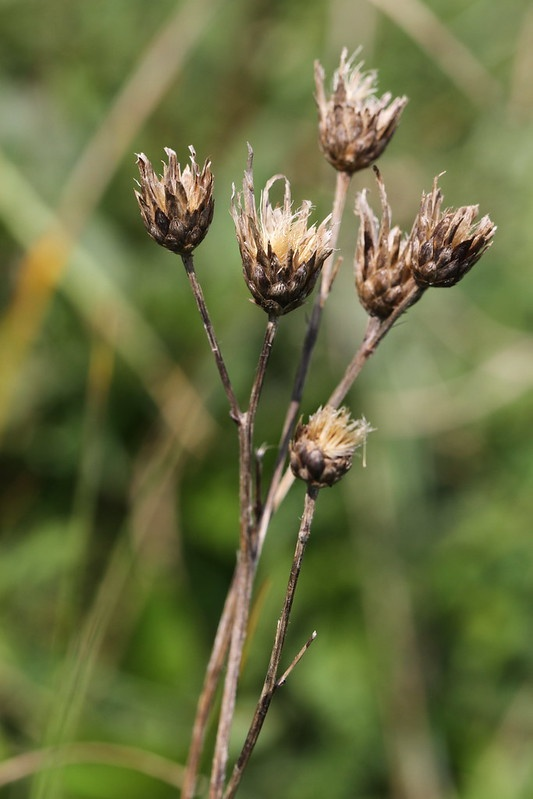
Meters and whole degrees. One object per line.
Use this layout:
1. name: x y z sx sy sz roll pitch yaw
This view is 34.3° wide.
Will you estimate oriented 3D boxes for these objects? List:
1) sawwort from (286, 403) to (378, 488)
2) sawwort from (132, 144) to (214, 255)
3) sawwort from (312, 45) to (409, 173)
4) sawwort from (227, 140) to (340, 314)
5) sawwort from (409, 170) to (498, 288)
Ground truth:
1. sawwort: 0.030 0.027 0.436 0.037 0.038 0.042 17 82 13
2. sawwort: -0.044 -0.101 0.431 0.036 0.046 0.040 9 54 18
3. sawwort: 0.049 -0.160 0.492 0.058 0.062 0.067 9 88 -7
4. sawwort: 0.007 -0.074 0.426 0.048 0.069 0.049 11 19 29
5. sawwort: 0.095 -0.084 0.441 0.038 0.041 0.053 26 60 28
